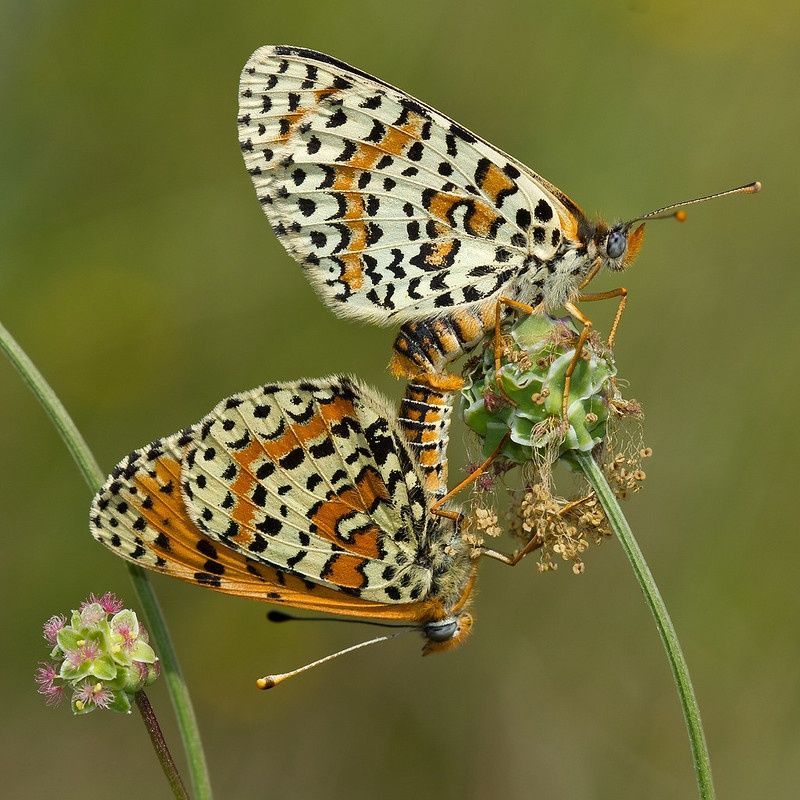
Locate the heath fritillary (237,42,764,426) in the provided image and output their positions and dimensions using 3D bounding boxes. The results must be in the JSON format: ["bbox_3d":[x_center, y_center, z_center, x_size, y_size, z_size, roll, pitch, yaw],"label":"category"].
[{"bbox_3d":[0.484,-0.679,4.875,2.160,1.573,0.919,8,13,15],"label":"heath fritillary"}]

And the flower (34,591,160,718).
[{"bbox_3d":[-1.165,0.975,4.236,0.459,0.459,0.334,-10,3,-22],"label":"flower"}]

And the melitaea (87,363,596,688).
[{"bbox_3d":[-0.413,0.585,4.714,1.539,1.224,0.352,-10,3,-12],"label":"melitaea"}]
